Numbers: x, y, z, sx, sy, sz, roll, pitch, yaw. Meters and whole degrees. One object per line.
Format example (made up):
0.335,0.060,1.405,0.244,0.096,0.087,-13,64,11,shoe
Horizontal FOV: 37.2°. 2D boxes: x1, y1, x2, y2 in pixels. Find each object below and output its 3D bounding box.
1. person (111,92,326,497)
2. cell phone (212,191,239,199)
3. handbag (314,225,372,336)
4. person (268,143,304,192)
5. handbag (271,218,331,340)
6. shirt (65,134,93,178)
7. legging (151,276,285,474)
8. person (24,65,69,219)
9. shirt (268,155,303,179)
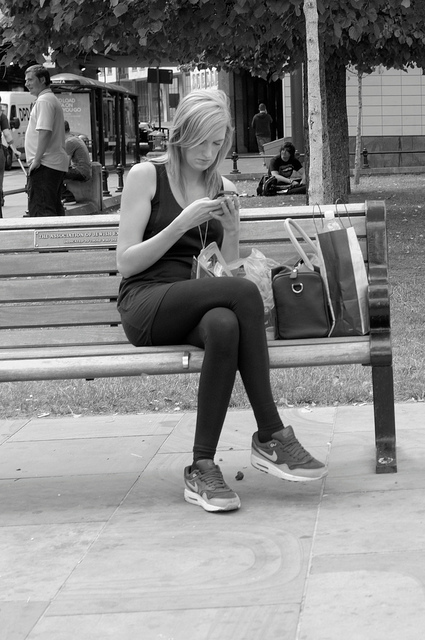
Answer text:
-0.017,-0.082,2.338,0.644,1.494,0.738,-7,11,-12,person
0.049,-0.474,2.386,0.087,0.023,0.085,-1,-3,-17,cell phone
0.486,-0.133,2.353,0.151,0.376,0.339,-11,13,6,handbag
1.950,-3.923,16.102,0.983,1.244,0.998,-1,18,-5,person
0.369,-0.149,2.496,0.236,0.447,0.335,-1,-1,17,handbag
-2.583,-3.190,12.196,0.403,0.821,1.173,-6,11,-9,shirt
0.024,0.213,2.372,0.446,0.787,0.467,-32,-39,32,legging
-2.020,-2.141,7.529,0.533,1.766,0.650,-7,11,-12,person
1.870,-3.921,16.170,1.196,0.507,1.196,-3,5,8,shirt
